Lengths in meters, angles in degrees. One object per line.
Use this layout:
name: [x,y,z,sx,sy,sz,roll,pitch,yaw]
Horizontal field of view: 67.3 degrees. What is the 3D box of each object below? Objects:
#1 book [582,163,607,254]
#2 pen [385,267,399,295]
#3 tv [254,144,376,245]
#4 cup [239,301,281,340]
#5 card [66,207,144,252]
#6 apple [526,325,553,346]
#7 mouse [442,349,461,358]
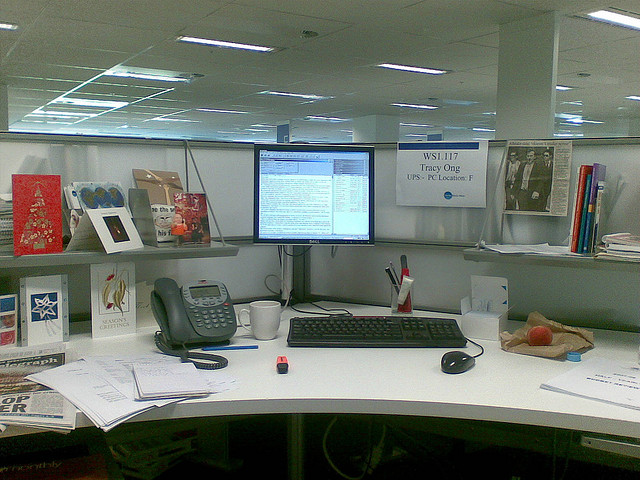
book: [0.917,-0.111,1.606,0.039,0.285,0.216,9,15,30]
pen: [0.282,0.162,1.870,0.018,0.127,0.029,-19,23,27]
tv: [-0.038,-0.168,1.760,0.434,0.294,0.030,0,0,-5]
cup: [-0.212,0.273,1.631,0.158,0.103,0.102,-2,-3,36]
card: [-0.699,-0.035,1.556,0.129,0.128,0.195,12,16,41]
apple: [0.681,0.297,1.489,0.066,0.057,0.065,1,6,39]
mouse: [0.377,0.330,1.385,0.044,0.010,0.041,-2,9,0]
